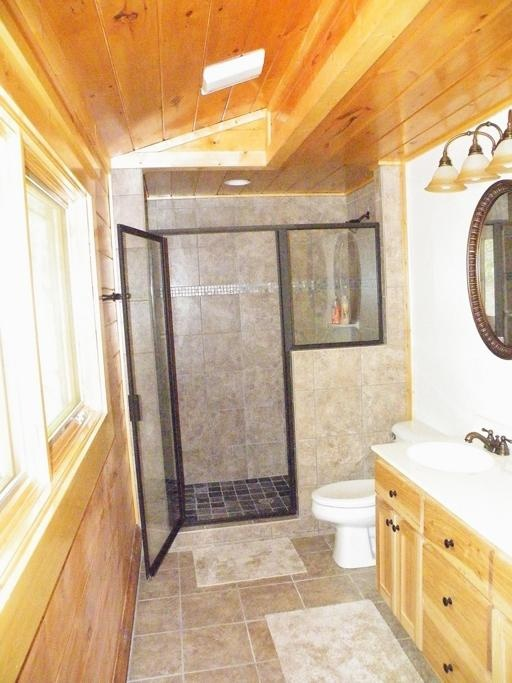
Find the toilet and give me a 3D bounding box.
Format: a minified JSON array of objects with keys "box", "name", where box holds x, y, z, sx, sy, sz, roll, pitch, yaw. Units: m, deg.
[{"box":[0.671,0.871,3.125,0.837,0.927,0.511,0,0,-11],"name":"toilet"}]
